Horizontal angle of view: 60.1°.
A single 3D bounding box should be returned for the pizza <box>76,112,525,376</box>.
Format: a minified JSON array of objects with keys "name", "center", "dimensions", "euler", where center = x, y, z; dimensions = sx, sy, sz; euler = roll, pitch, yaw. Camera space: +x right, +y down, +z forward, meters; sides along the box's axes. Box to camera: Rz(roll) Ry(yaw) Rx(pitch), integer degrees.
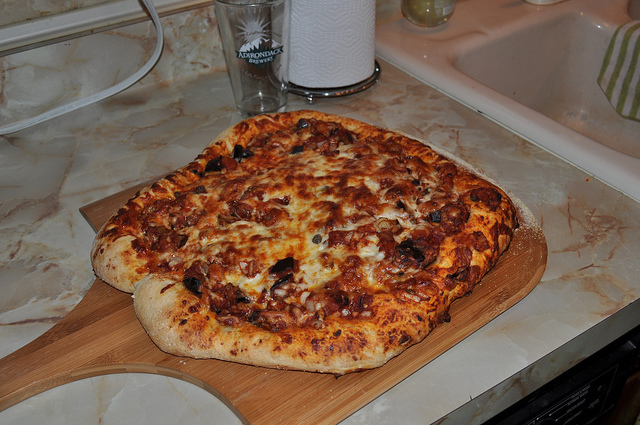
[{"name":"pizza","center":[-0.050,0.048,1.390],"dimensions":[0.816,0.167,0.852],"euler":[34,59,27]}]
